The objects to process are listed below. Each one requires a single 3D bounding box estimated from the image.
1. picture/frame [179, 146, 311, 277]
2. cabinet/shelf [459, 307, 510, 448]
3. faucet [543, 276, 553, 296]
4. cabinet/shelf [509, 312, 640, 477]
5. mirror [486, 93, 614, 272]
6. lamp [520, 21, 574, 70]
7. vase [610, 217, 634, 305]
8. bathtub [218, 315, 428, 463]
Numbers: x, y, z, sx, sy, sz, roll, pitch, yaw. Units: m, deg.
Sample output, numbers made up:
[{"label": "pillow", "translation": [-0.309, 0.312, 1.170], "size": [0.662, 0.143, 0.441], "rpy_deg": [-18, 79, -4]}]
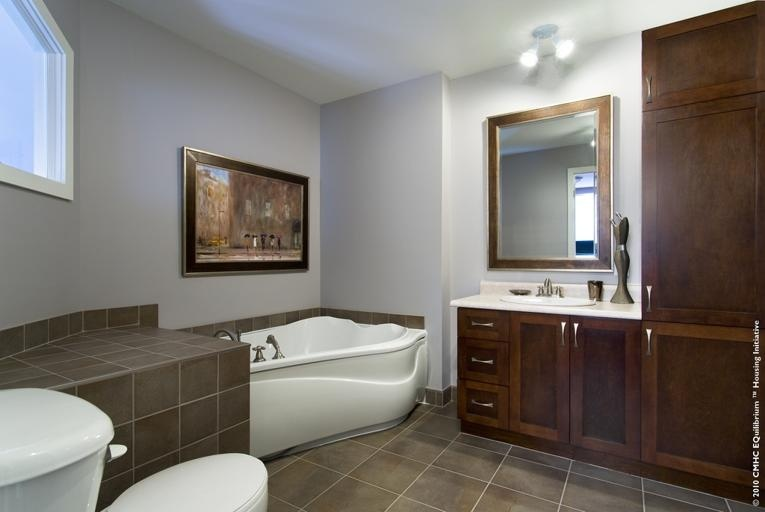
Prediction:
[{"label": "picture/frame", "translation": [-1.263, -0.390, 4.346], "size": [0.045, 0.931, 1.242], "rpy_deg": [-3, -4, 38]}, {"label": "cabinet/shelf", "translation": [0.786, 0.860, 3.854], "size": [0.422, 0.875, 0.244], "rpy_deg": [2, 11, 16]}, {"label": "faucet", "translation": [1.390, 0.251, 4.136], "size": [0.073, 0.138, 0.166], "rpy_deg": [2, 11, 20]}, {"label": "cabinet/shelf", "translation": [1.515, 0.897, 3.814], "size": [0.970, 0.998, 0.554], "rpy_deg": [1, 4, 32]}, {"label": "mirror", "translation": [1.394, -0.590, 4.183], "size": [1.017, 1.429, 0.426], "rpy_deg": [1, 11, 14]}, {"label": "lamp", "translation": [1.341, -1.716, 4.056], "size": [0.442, 0.268, 0.340], "rpy_deg": [3, 11, 20]}, {"label": "vase", "translation": [1.876, 0.019, 3.846], "size": [0.181, 0.659, 0.363], "rpy_deg": [3, 12, 24]}, {"label": "bathtub", "translation": [-0.332, 1.019, 3.950], "size": [1.330, 0.520, 0.950], "rpy_deg": [-2, 2, -43]}]
